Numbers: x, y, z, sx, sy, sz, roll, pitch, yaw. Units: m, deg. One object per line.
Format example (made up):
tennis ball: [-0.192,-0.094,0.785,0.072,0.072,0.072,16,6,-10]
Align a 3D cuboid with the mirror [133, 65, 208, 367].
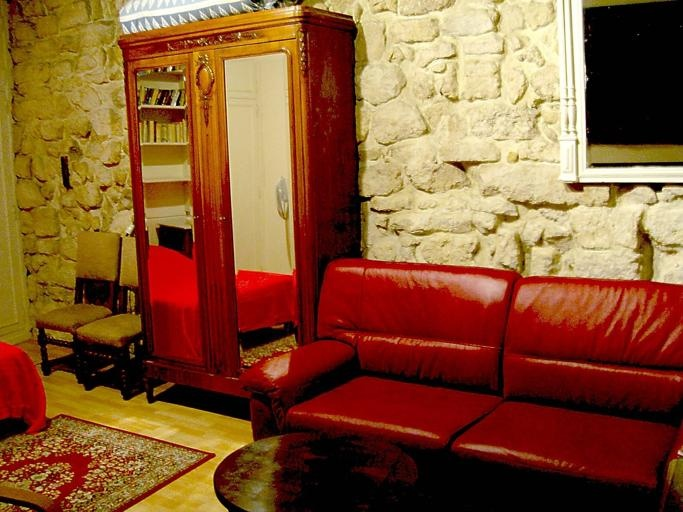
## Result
mirror: [-1.094,-0.277,3.672,0.606,2.130,0.297,-3,3,31]
